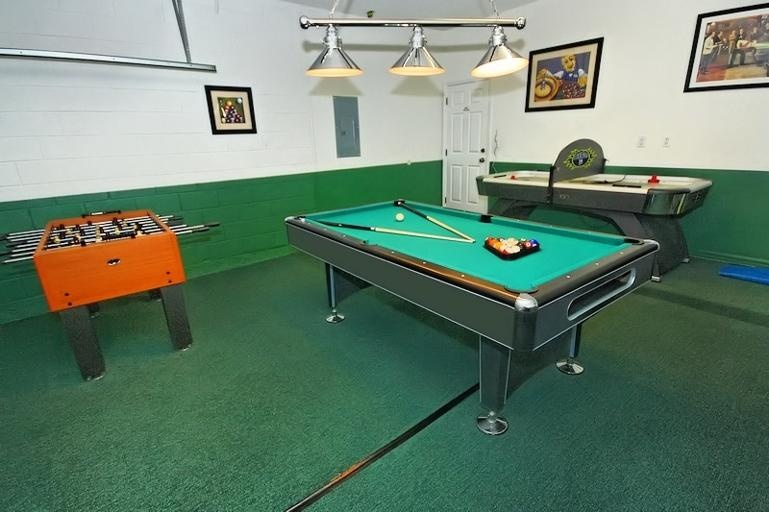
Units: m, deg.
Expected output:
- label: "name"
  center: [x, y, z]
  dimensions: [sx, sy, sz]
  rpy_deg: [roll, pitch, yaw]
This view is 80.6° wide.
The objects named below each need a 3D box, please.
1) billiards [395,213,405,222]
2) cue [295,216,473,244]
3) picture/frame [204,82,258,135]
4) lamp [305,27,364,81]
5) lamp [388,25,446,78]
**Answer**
- label: "billiards"
  center: [0.152, -0.385, 4.457]
  dimensions: [0.090, 0.059, 0.087]
  rpy_deg: [-10, 26, -28]
- label: "cue"
  center: [0.014, -0.232, 4.135]
  dimensions: [1.030, 0.101, 0.105]
  rpy_deg: [10, 56, 14]
- label: "picture/frame"
  center: [-1.913, -1.837, 5.605]
  dimensions: [0.677, 0.640, 0.049]
  rpy_deg: [-13, 16, -35]
- label: "lamp"
  center: [-0.457, -1.736, 4.101]
  dimensions: [0.589, 0.516, 0.560]
  rpy_deg: [-7, 30, -8]
- label: "lamp"
  center: [0.272, -1.788, 4.132]
  dimensions: [0.560, 0.440, 0.505]
  rpy_deg: [-3, 29, -4]
